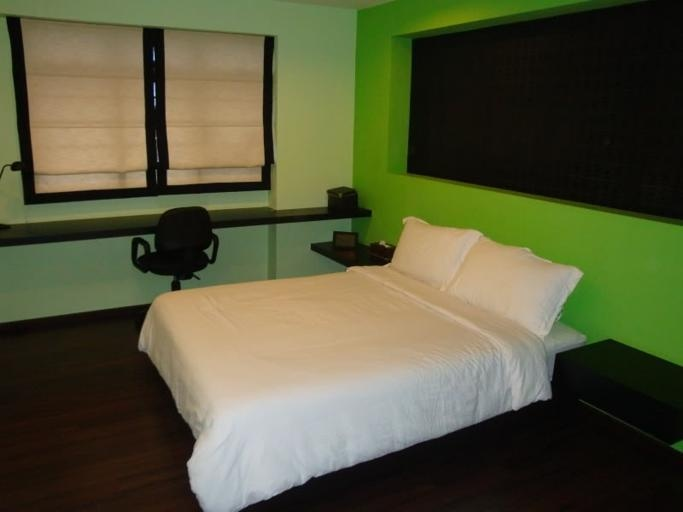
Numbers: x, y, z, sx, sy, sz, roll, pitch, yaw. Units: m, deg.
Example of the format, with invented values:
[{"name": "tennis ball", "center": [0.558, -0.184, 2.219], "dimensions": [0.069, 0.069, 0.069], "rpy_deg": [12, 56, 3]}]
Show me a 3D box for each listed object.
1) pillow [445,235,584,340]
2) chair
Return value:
[{"name": "pillow", "center": [1.160, 0.120, 3.997], "dimensions": [0.182, 0.544, 0.724], "rpy_deg": [32, 1, -18]}, {"name": "chair", "center": [-1.545, 0.034, 4.796], "dimensions": [0.585, 1.071, 0.736], "rpy_deg": [15, 16, 33]}]
